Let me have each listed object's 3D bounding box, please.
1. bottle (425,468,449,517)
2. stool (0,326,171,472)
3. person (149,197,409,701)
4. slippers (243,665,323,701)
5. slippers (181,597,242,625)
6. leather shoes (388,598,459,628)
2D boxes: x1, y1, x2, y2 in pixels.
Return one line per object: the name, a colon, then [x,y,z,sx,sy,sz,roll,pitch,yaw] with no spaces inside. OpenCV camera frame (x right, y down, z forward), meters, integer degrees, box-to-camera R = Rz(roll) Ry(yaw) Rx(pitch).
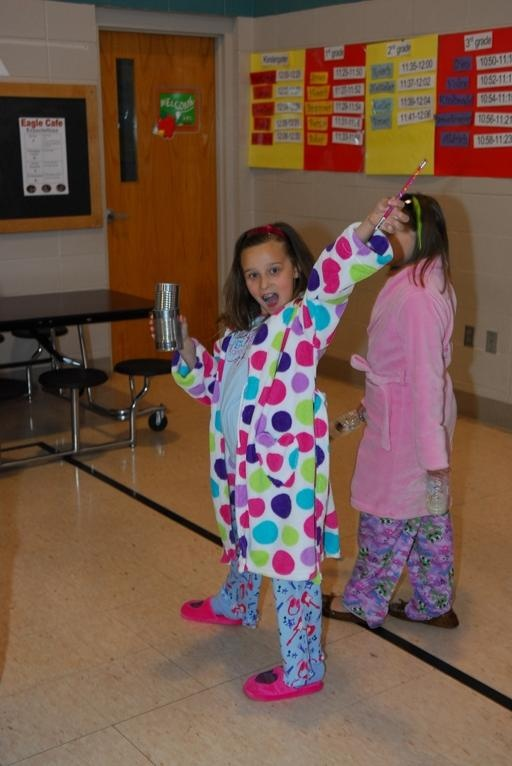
bottle: [0.428,0.255,1.379,0.053,0.109,0.051,0,4,0]
stool: [-0.944,0.075,3.671,1.262,0.809,0.440,-8,20,-30]
person: [0.081,0.201,1.367,0.736,1.116,0.411,3,5,41]
slippers: [0.069,0.694,1.401,0.167,0.069,0.077,-1,7,-6]
slippers: [-0.139,0.676,1.812,0.152,0.052,0.082,8,-1,12]
leather shoes: [0.506,0.700,1.786,0.184,0.076,0.064,14,19,27]
